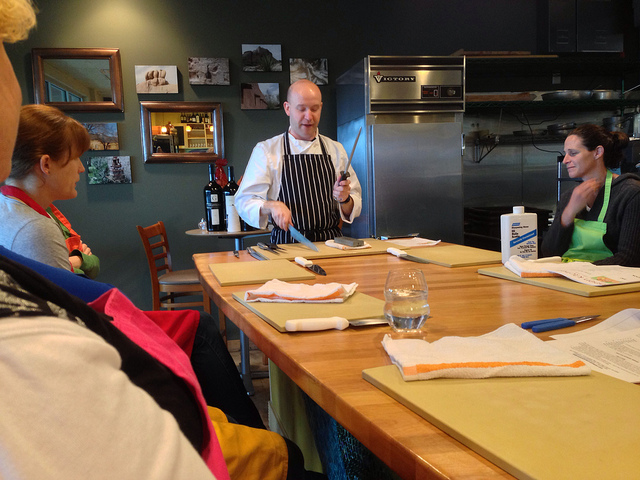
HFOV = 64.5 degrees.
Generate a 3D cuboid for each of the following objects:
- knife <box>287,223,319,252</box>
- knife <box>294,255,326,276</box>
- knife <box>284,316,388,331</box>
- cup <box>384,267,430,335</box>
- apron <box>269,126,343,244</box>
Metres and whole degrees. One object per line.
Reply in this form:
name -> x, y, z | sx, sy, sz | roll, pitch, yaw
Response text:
knife -> -0.085, -0.009, 2.438 | 0.031, 0.221, 0.011 | -37, 28, 28
knife -> -0.026, 0.079, 1.742 | 0.041, 0.021, 0.196 | 0, 9, -20
knife -> 0.037, 0.181, 1.097 | 0.129, 0.019, 0.034 | -1, 0, -14
cup -> 0.178, 0.123, 1.045 | 0.118, 0.166, 0.119 | 0, -5, 0
apron -> -0.070, -0.305, 2.861 | 0.344, 0.834, 0.112 | -1, -20, -1
